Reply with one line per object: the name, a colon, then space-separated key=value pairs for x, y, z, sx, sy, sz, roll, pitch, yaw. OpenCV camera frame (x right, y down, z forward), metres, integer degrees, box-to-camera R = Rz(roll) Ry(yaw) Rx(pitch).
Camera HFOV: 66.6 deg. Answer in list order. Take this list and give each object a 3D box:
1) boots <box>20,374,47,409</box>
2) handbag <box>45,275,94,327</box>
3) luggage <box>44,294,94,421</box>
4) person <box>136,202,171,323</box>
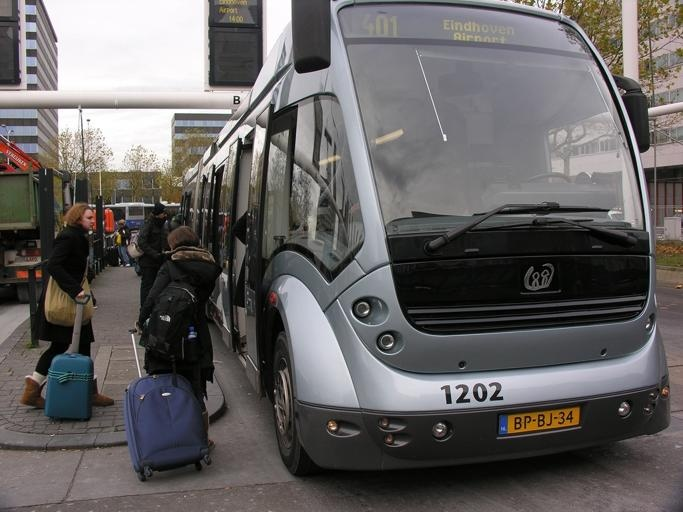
boots: x=-3.304 y=1.465 z=5.597 sx=0.379 sy=0.333 sz=0.179 roll=1 pitch=4 yaw=30
handbag: x=-2.901 y=0.482 z=5.516 sx=0.410 sy=0.669 sz=0.308 roll=5 pitch=-17 yaw=-34
luggage: x=-2.782 y=1.069 z=5.311 sx=0.452 sy=1.194 sz=0.505 roll=-3 pitch=4 yaw=-28
person: x=-3.937 y=0.013 z=11.008 sx=0.524 sy=2.253 sz=0.735 roll=14 pitch=14 yaw=20
